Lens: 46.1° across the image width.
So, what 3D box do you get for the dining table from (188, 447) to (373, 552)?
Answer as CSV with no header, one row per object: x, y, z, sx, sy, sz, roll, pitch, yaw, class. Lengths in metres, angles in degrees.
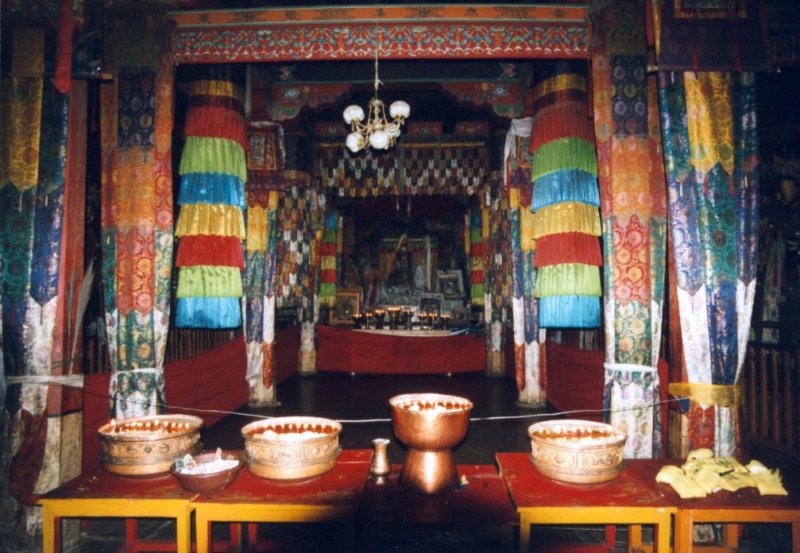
-0.919,1.589,7.469,0.899,0.939,0.948,0,-7,-6,dining table

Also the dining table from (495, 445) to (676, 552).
1.419,1.537,7.386,0.856,0.805,0.907,0,4,-2,dining table

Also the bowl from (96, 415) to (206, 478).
-1.910,1.312,7.352,0.519,0.207,0.540,2,-2,0,bowl

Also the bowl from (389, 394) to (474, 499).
0.234,1.283,7.367,0.611,0.665,0.601,1,4,0,bowl
